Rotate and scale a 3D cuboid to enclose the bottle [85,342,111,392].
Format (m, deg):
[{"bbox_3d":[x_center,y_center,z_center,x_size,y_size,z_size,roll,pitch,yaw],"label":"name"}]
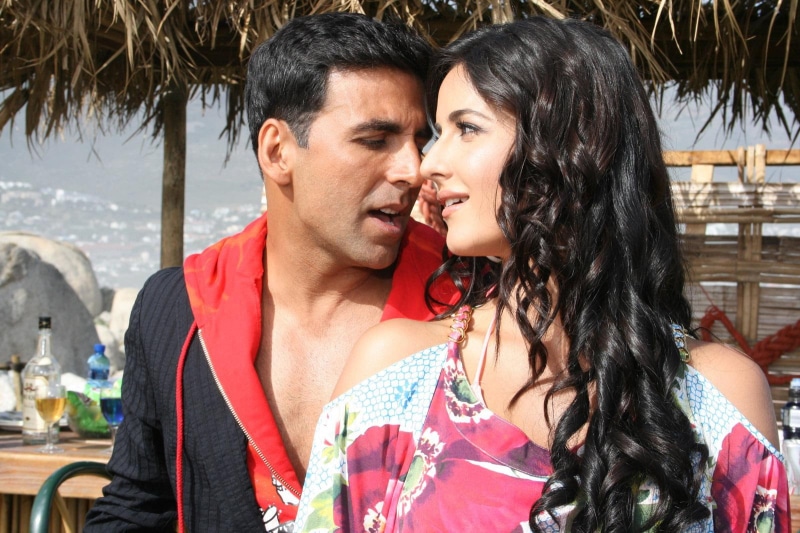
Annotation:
[{"bbox_3d":[-1.241,0.432,4.909,0.087,0.229,0.089,5,9,-1],"label":"bottle"}]
